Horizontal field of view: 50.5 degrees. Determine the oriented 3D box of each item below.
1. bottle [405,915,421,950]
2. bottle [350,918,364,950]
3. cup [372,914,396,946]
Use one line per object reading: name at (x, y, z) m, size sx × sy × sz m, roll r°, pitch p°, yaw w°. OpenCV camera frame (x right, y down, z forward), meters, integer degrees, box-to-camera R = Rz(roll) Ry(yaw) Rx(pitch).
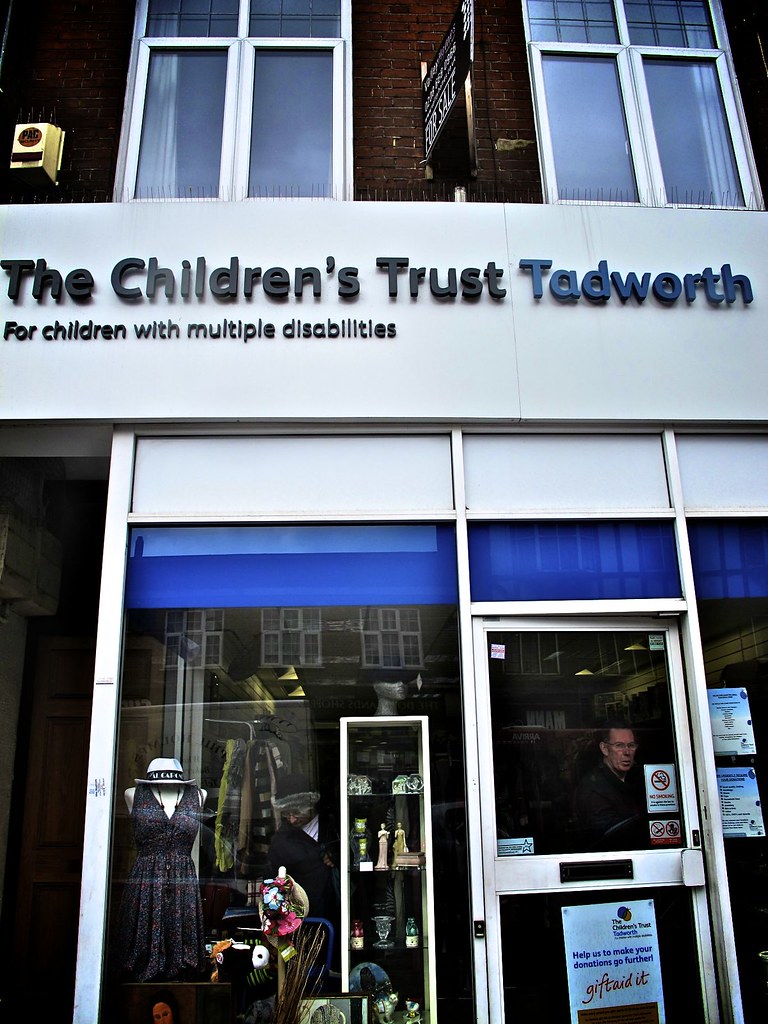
bottle at (0.123, 1.846, 3.550) m, size 0.063 × 0.123 × 0.017 m, roll -3°, pitch -20°, yaw 2°
bottle at (-0.116, 1.854, 3.548) m, size 0.062 × 0.123 × 0.019 m, roll 0°, pitch -20°, yaw -6°
cup at (-0.001, 1.836, 3.563) m, size 0.093 × 0.123 × 0.101 m, roll 0°, pitch -17°, yaw 0°
